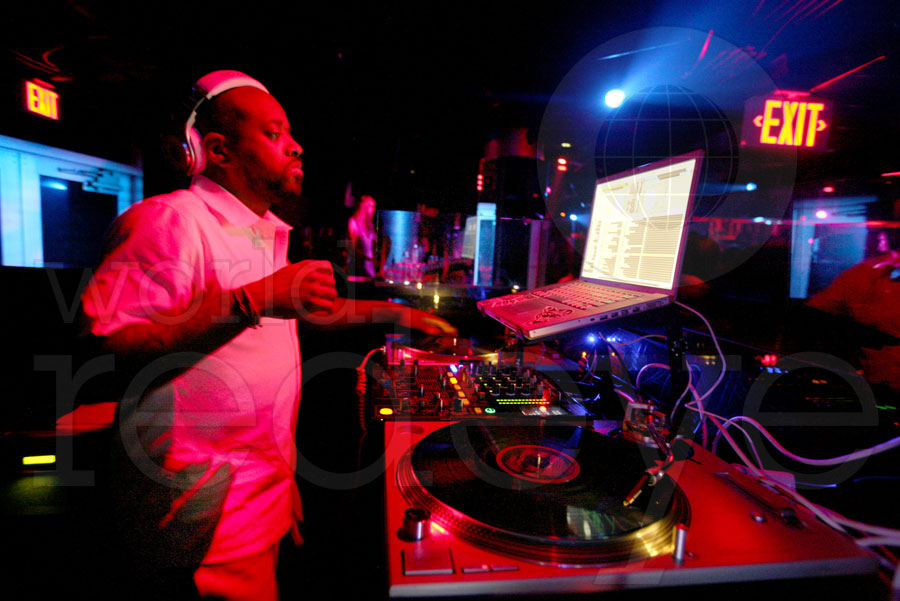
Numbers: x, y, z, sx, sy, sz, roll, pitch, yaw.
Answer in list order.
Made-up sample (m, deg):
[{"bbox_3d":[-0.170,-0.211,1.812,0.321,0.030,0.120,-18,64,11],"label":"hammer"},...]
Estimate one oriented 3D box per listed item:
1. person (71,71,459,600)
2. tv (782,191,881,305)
[{"bbox_3d":[-0.982,0.114,3.419,0.891,2.559,1.271,8,10,32],"label":"person"},{"bbox_3d":[2.273,-0.392,4.011,0.521,0.713,0.512,-32,34,-31],"label":"tv"}]
